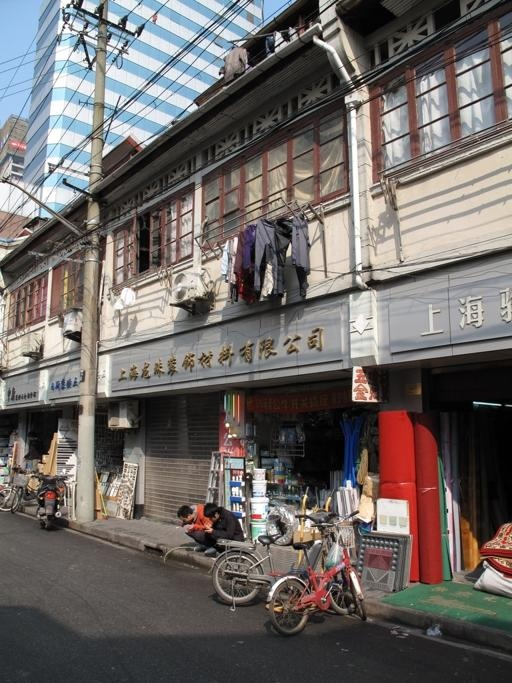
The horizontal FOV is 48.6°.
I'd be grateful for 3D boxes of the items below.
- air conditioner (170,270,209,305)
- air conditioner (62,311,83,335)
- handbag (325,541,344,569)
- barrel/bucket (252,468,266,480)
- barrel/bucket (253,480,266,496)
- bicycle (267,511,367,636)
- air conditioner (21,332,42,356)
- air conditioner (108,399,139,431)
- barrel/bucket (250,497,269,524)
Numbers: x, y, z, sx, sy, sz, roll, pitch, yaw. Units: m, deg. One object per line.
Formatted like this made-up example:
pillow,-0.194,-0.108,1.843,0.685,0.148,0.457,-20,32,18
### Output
air conditioner,-1.261,-1.024,10.881,0.254,0.482,0.488,19,-50,-27
air conditioner,-4.930,-0.495,15.173,0.382,0.490,0.394,17,-33,-39
handbag,0.823,2.240,5.957,0.094,0.245,0.121,29,-29,-7
barrel/bucket,0.046,2.349,10.095,0.195,0.205,0.208,1,-14,0
barrel/bucket,0.066,2.580,10.044,0.229,0.247,0.241,3,-17,1
bicycle,0.606,2.344,5.657,0.620,0.927,1.354,-13,-12,38
air conditioner,-7.585,0.114,18.972,0.767,0.775,0.401,-9,-15,33
air conditioner,-3.360,1.848,14.409,0.481,0.706,0.916,9,-16,-38
barrel/bucket,0.048,2.892,9.753,0.347,0.412,0.372,3,-19,1
